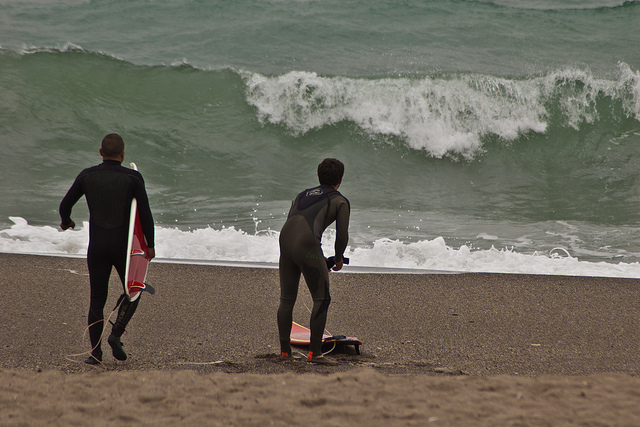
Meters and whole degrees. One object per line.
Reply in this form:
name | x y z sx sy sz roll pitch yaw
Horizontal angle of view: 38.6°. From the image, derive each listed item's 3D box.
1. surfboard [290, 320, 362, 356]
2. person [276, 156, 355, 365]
surfboard | 0.098 2.507 18.473 1.265 0.403 0.665 3 7 12
person | -0.143 0.925 18.081 1.324 3.976 0.800 2 9 -3
